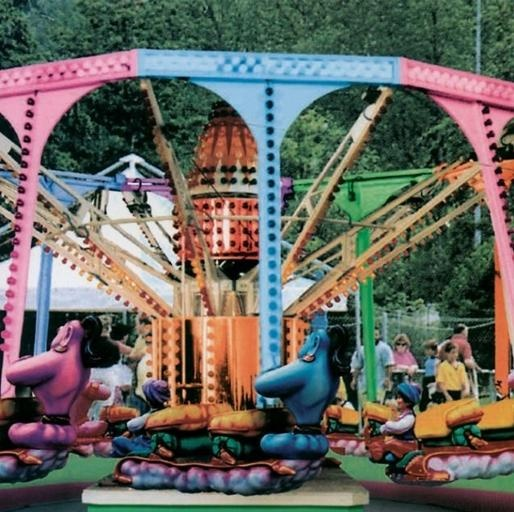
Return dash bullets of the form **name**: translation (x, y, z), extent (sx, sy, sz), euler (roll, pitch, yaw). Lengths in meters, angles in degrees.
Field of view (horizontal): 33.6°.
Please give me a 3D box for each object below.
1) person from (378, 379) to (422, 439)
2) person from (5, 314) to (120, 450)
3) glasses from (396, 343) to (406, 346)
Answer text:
- **person**: translation (1.404, 1.447, 8.294), extent (0.373, 0.477, 0.968), euler (-2, -3, 10)
- **person**: translation (-1.585, 1.197, 7.998), extent (0.882, 1.313, 2.337), euler (-2, -3, 3)
- **glasses**: translation (2.028, 1.232, 11.949), extent (0.126, 0.052, 0.074), euler (-2, -3, 18)
